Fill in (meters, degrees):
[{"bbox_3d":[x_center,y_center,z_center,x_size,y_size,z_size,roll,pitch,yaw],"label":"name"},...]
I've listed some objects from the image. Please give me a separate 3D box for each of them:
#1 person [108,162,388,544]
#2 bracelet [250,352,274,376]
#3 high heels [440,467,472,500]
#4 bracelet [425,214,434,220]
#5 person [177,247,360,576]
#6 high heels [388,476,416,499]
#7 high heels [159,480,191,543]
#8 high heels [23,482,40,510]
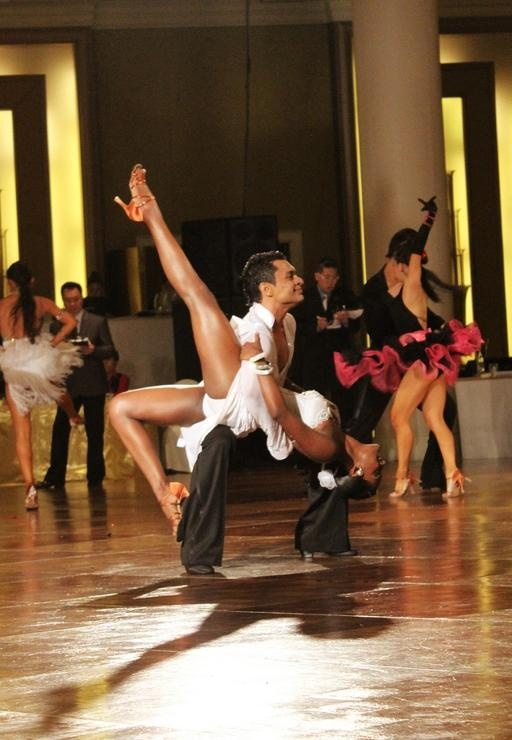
[{"bbox_3d":[-0.114,-0.174,3.334,1.617,1.602,0.771,5,16,0],"label":"person"},{"bbox_3d":[0.017,-0.019,2.540,0.059,0.030,0.075,38,5,-24],"label":"bracelet"},{"bbox_3d":[1.250,0.718,4.977,0.110,0.115,0.301,-18,-4,0],"label":"high heels"},{"bbox_3d":[1.053,-0.914,4.754,0.040,0.048,0.061,-2,2,17],"label":"bracelet"},{"bbox_3d":[0.030,0.152,2.843,0.772,1.044,0.419,-1,-3,2],"label":"person"},{"bbox_3d":[0.949,0.778,5.211,0.101,0.162,0.307,-7,-5,38],"label":"high heels"},{"bbox_3d":[-0.294,0.522,2.948,0.092,0.235,0.070,-2,15,15],"label":"high heels"},{"bbox_3d":[-1.552,0.878,5.442,0.090,0.095,0.245,-2,2,-7],"label":"high heels"}]
